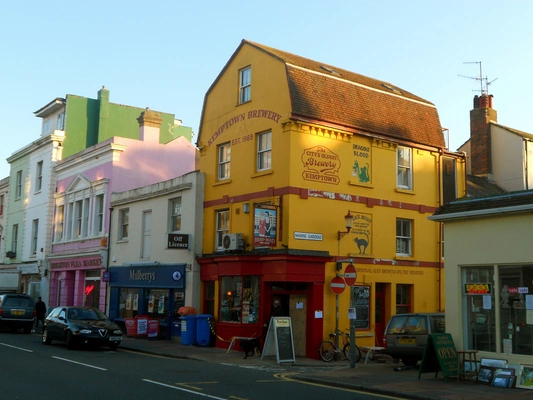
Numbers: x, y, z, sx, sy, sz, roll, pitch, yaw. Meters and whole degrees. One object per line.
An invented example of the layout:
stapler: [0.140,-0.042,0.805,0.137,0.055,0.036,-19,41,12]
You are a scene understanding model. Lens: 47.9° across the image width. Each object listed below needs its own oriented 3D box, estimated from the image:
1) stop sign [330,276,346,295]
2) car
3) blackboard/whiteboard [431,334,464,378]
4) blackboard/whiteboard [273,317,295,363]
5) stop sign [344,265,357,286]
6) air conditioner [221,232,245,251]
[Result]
stop sign: [2.734,3.223,23.266,0.514,0.763,0.934,-1,-14,5]
car: [-7.984,5.335,25.114,4.629,1.650,3.296,-8,-12,44]
blackboard/whiteboard: [5.519,4.735,18.348,1.312,1.321,0.276,13,-19,-41]
blackboard/whiteboard: [0.640,5.162,22.294,0.877,1.642,0.419,12,-19,-40]
stop sign: [3.131,2.748,22.424,0.416,0.790,0.797,-1,-14,5]
air conditioner: [-1.451,1.915,25.732,0.699,0.890,1.239,6,-9,-28]
